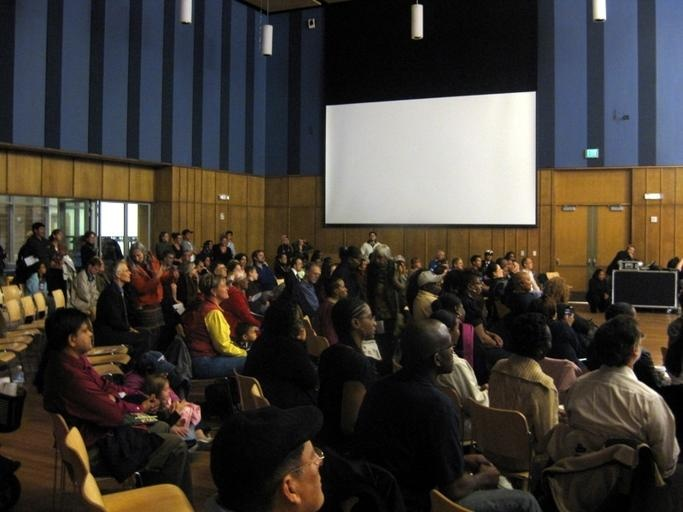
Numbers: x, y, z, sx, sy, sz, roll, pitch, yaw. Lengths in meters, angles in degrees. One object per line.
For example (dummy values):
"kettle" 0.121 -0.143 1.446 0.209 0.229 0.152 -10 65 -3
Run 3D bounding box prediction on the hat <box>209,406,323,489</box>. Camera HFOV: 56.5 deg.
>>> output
"hat" -0.402 0.860 2.998 0.542 0.313 0.383 25 -27 -37

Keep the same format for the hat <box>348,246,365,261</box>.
"hat" 0.193 -0.032 8.962 0.203 0.242 0.159 -6 7 -25

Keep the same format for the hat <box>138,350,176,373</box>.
"hat" -1.608 0.933 5.512 0.259 0.111 0.179 11 9 -13

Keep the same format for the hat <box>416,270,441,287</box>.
"hat" 1.028 0.244 7.671 0.357 0.208 0.241 -3 5 -11

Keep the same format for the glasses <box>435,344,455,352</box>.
"glasses" 0.629 0.563 3.879 0.142 0.045 0.025 -1 2 -42

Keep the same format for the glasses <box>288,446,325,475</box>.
"glasses" -0.164 0.954 2.955 0.108 0.038 0.107 -19 2 -25
